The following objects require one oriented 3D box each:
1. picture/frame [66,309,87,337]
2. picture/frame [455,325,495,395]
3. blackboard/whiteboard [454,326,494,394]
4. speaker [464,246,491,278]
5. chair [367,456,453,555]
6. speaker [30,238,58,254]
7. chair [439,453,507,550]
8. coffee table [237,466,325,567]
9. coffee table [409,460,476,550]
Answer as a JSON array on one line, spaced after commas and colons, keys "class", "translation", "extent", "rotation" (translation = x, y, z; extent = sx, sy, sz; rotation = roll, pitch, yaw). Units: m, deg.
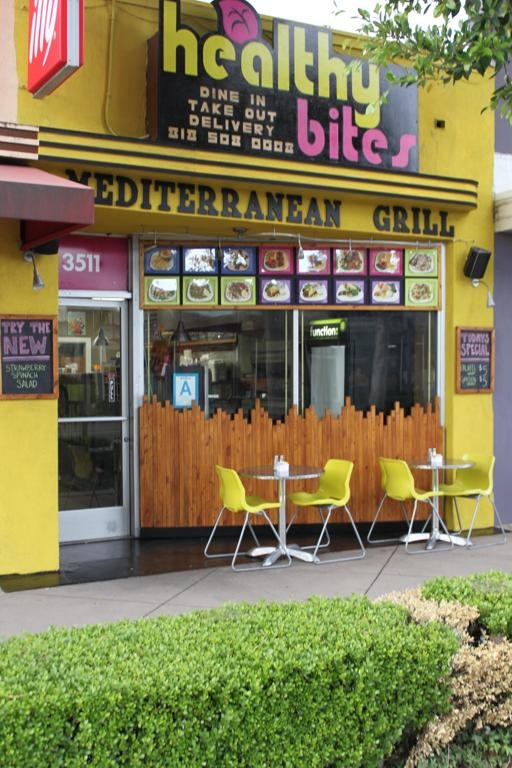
[{"class": "picture/frame", "translation": [-1.755, -0.576, 7.727], "extent": [0.178, 0.357, 0.027], "rotation": [1, 0, -38]}, {"class": "picture/frame", "translation": [2.347, -0.218, 8.499], "extent": [0.283, 0.940, 0.119], "rotation": [2, 0, 31]}, {"class": "blackboard/whiteboard", "translation": [2.351, -0.236, 8.505], "extent": [0.517, 0.699, 0.112], "rotation": [2, 3, -33]}, {"class": "speaker", "translation": [2.320, -1.261, 8.335], "extent": [0.176, 0.352, 0.159], "rotation": [4, 20, -29]}, {"class": "chair", "translation": [1.436, 1.098, 7.569], "extent": [0.490, 0.996, 0.596], "rotation": [-1, 11, 35]}, {"class": "speaker", "translation": [-1.673, -1.069, 6.353], "extent": [0.129, 0.151, 0.158], "rotation": [1, 14, -3]}, {"class": "chair", "translation": [2.143, 1.033, 8.076], "extent": [0.458, 1.284, 0.556], "rotation": [0, 1, -29]}, {"class": "coffee table", "translation": [0.212, 1.215, 7.169], "extent": [0.533, 1.018, 0.620], "rotation": [2, 0, -27]}, {"class": "coffee table", "translation": [1.760, 1.238, 7.747], "extent": [0.454, 1.153, 0.519], "rotation": [3, 1, -31]}]
